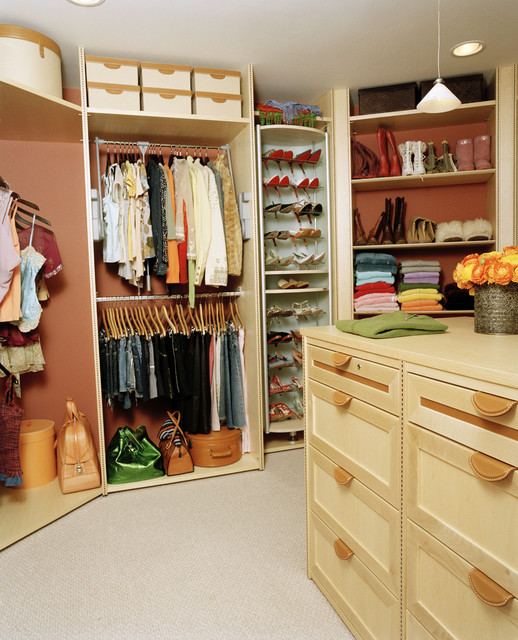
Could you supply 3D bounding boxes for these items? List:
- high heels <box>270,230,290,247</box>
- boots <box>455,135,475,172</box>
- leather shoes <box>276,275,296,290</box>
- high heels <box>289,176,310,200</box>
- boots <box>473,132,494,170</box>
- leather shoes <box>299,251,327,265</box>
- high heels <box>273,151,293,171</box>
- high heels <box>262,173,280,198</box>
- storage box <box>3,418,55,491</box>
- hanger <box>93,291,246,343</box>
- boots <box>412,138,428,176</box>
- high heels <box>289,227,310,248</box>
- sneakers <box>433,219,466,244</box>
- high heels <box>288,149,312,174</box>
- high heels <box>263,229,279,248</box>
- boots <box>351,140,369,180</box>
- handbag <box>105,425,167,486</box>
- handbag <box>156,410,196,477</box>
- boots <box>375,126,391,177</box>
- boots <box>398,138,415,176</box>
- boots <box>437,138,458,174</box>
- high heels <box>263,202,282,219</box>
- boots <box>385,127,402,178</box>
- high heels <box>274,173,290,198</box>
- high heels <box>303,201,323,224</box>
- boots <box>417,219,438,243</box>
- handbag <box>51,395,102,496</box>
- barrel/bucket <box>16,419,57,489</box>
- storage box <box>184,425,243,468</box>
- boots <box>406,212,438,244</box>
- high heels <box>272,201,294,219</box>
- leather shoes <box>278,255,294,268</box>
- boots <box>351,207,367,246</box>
[{"bbox_3d":[0.131,-0.552,3.469,0.040,0.077,0.119,18,-8,-32],"label":"high heels"},{"bbox_3d":[1.311,-1.053,3.355,0.105,0.230,0.160,1,6,18],"label":"boots"},{"bbox_3d":[0.184,-0.248,3.550,0.111,0.065,0.356,-1,6,2],"label":"leather shoes"},{"bbox_3d":[0.286,-0.885,3.556,0.091,0.181,0.200,-3,4,-31],"label":"high heels"},{"bbox_3d":[1.404,-1.051,3.308,0.108,0.227,0.135,1,6,21],"label":"boots"},{"bbox_3d":[0.335,-0.401,3.455,0.210,0.089,0.077,-4,2,34],"label":"leather shoes"},{"bbox_3d":[0.176,-1.035,3.416,0.138,0.159,0.137,0,26,5],"label":"high heels"},{"bbox_3d":[0.081,-0.915,3.485,0.111,0.155,0.298,-1,6,1],"label":"high heels"},{"bbox_3d":[-1.209,0.752,2.948,0.298,0.329,0.299,0,1,3],"label":"storage box"},{"bbox_3d":[-0.567,-0.023,3.253,1.099,0.411,0.327,-3,8,-16],"label":"hanger"},{"bbox_3d":[1.041,-1.045,3.423,0.083,0.237,0.188,1,6,17],"label":"boots"},{"bbox_3d":[0.275,-0.551,3.524,0.144,0.101,0.319,-1,6,3],"label":"high heels"},{"bbox_3d":[1.237,-0.572,3.417,0.136,0.058,0.174,2,43,22],"label":"sneakers"},{"bbox_3d":[0.267,-1.062,3.535,0.083,0.106,0.270,-1,0,-16],"label":"high heels"},{"bbox_3d":[0.075,-0.550,3.465,0.067,0.042,0.106,18,-13,-32],"label":"high heels"},{"bbox_3d":[0.656,-1.065,3.465,0.115,0.260,0.059,-1,5,2],"label":"boots"},{"bbox_3d":[-0.725,0.780,3.035,0.340,0.292,0.175,0,4,-30],"label":"handbag"},{"bbox_3d":[-0.526,0.698,3.187,0.163,0.309,0.421,-6,17,-23],"label":"handbag"},{"bbox_3d":[0.848,-1.118,3.567,0.107,0.349,0.137,-6,-17,33],"label":"boots"},{"bbox_3d":[0.961,-1.049,3.456,0.091,0.242,0.225,0,6,15],"label":"boots"},{"bbox_3d":[1.242,-1.082,3.475,0.120,0.271,0.356,1,6,19],"label":"boots"},{"bbox_3d":[0.091,-0.718,3.446,0.082,0.046,0.113,-42,31,-26],"label":"high heels"},{"bbox_3d":[0.943,-1.111,3.559,0.113,0.380,0.150,-12,-33,25],"label":"boots"},{"bbox_3d":[0.155,-0.900,3.504,0.064,0.210,0.084,2,50,-3],"label":"high heels"},{"bbox_3d":[0.353,-0.709,3.486,0.159,0.108,0.063,9,18,23],"label":"high heels"},{"bbox_3d":[1.114,-0.588,3.506,0.165,0.202,0.092,3,-6,-3],"label":"boots"},{"bbox_3d":[-0.995,0.671,2.886,0.221,0.487,0.245,-3,6,-22],"label":"handbag"},{"bbox_3d":[-1.284,0.769,2.963,0.233,0.256,0.232,-8,-8,-1],"label":"barrel/bucket"},{"bbox_3d":[-0.269,0.784,3.227,0.307,0.162,0.326,-5,-1,2],"label":"storage box"},{"bbox_3d":[1.115,-0.554,3.579,0.158,0.309,0.307,2,4,32],"label":"boots"},{"bbox_3d":[0.153,-0.715,3.404,0.128,0.053,0.078,-24,19,-33],"label":"high heels"},{"bbox_3d":[0.179,-0.386,3.516,0.103,0.070,0.283,-1,6,2],"label":"leather shoes"},{"bbox_3d":[0.692,-0.647,3.623,0.103,0.269,0.296,0,6,10],"label":"boots"}]
